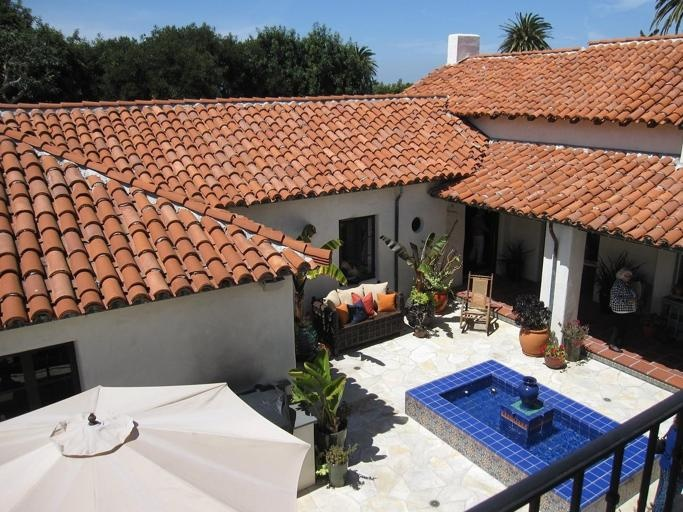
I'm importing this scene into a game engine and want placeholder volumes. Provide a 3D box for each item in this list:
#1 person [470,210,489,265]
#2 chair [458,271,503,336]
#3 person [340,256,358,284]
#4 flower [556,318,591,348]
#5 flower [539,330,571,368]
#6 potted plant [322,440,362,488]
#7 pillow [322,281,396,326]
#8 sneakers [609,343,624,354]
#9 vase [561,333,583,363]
[{"bbox_3d":[4.996,-0.835,19.600,0.622,2.419,0.468,-2,14,5],"label":"person"},{"bbox_3d":[4.195,1.313,16.361,1.116,1.735,1.546,1,15,16],"label":"chair"},{"bbox_3d":[0.249,0.326,16.597,0.481,0.829,0.182,-11,9,-27],"label":"person"},{"bbox_3d":[6.241,2.009,14.386,0.656,0.700,0.680,-5,18,-7],"label":"flower"},{"bbox_3d":[5.537,2.532,14.151,0.634,0.948,0.607,4,13,-10],"label":"flower"},{"bbox_3d":[0.010,4.163,10.444,0.795,0.789,0.457,-17,20,-42],"label":"potted plant"},{"bbox_3d":[0.570,1.176,15.487,2.392,1.087,1.003,-17,32,-32],"label":"pillow"},{"bbox_3d":[7.247,2.502,14.223,0.136,0.150,0.392,-45,44,-19],"label":"sneakers"},{"bbox_3d":[6.099,2.505,14.425,0.581,0.752,0.668,1,6,24],"label":"vase"}]
